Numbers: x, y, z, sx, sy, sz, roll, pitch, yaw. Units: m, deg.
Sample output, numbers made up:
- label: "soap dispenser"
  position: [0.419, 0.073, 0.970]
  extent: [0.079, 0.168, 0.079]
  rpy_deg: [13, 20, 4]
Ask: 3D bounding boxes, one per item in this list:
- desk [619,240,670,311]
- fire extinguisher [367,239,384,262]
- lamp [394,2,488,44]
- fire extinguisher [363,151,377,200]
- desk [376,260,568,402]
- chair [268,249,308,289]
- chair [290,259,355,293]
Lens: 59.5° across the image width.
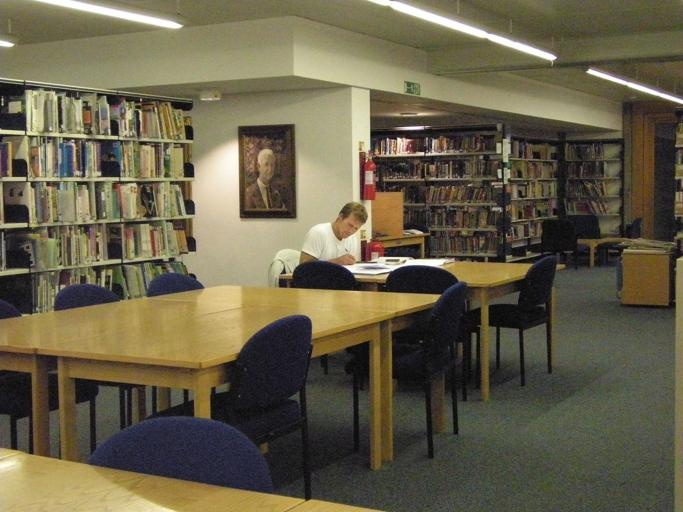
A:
- label: "desk"
  position: [4.281, 0.272, 8.718]
  extent: [0.908, 0.949, 0.780]
  rpy_deg: [1, 0, 25]
- label: "fire extinguisher"
  position: [0.369, -0.072, 6.933]
  extent: [0.218, 0.266, 0.212]
  rpy_deg: [1, -2, -41]
- label: "lamp"
  position: [0.964, -2.336, 5.924]
  extent: [0.218, 0.053, 1.615]
  rpy_deg: [5, 8, 44]
- label: "fire extinguisher"
  position: [0.341, -1.000, 7.587]
  extent: [0.130, 0.595, 0.267]
  rpy_deg: [0, 6, 12]
- label: "desk"
  position: [1.153, 0.472, 5.169]
  extent: [1.419, 0.891, 1.329]
  rpy_deg: [3, 6, 37]
- label: "chair"
  position: [-0.555, 0.109, 5.497]
  extent: [0.415, 0.457, 0.330]
  rpy_deg: [0, -3, 8]
- label: "chair"
  position: [-0.141, 0.135, 4.888]
  extent: [0.319, 0.446, 0.327]
  rpy_deg: [3, 6, 22]
